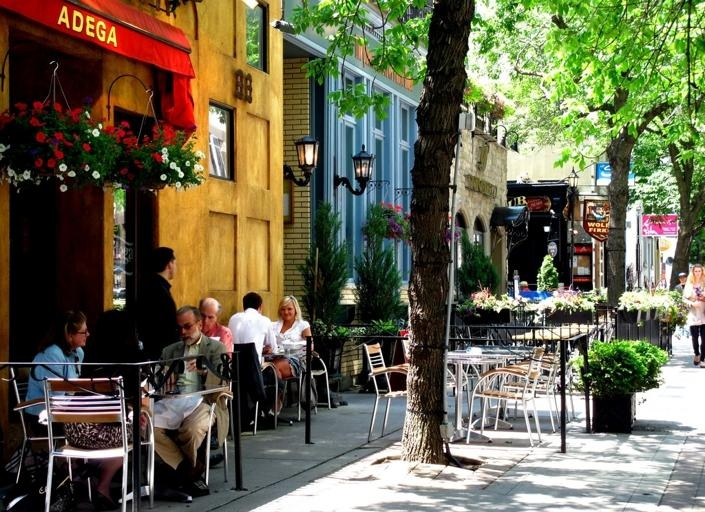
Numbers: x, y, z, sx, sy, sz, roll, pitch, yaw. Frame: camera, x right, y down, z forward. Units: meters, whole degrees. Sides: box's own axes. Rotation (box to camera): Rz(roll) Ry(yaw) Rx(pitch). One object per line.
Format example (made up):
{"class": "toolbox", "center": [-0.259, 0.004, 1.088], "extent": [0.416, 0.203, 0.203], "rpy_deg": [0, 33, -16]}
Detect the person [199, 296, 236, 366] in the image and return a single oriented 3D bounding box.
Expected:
{"class": "person", "center": [-1.739, 0.946, 11.383], "extent": [0.472, 0.881, 0.461], "rpy_deg": [-4, -6, 2]}

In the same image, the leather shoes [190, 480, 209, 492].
{"class": "leather shoes", "center": [-1.598, 2.446, 9.427], "extent": [0.181, 0.132, 0.127], "rpy_deg": [3, -7, -39]}

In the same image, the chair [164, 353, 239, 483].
{"class": "chair", "center": [-1.749, 1.682, 9.640], "extent": [0.813, 1.659, 1.385], "rpy_deg": [-1, -5, 0]}

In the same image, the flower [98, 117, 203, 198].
{"class": "flower", "center": [-2.447, -1.193, 11.137], "extent": [0.824, 0.652, 0.901], "rpy_deg": [1, 0, -14]}

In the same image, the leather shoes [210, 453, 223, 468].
{"class": "leather shoes", "center": [-1.581, 2.371, 10.385], "extent": [0.071, 0.218, 0.142], "rpy_deg": [24, -11, -38]}

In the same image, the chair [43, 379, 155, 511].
{"class": "chair", "center": [-2.406, 1.829, 8.594], "extent": [1.084, 1.331, 1.427], "rpy_deg": [2, -6, -27]}

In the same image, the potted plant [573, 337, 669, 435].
{"class": "potted plant", "center": [3.813, 1.837, 12.668], "extent": [1.157, 1.290, 0.670], "rpy_deg": [1, -5, -17]}

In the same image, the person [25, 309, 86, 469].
{"class": "person", "center": [-3.012, 1.340, 9.603], "extent": [0.719, 1.547, 0.662], "rpy_deg": [14, 18, 2]}

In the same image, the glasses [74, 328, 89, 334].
{"class": "glasses", "center": [-2.893, 0.794, 9.481], "extent": [0.117, 0.046, 0.128], "rpy_deg": [-1, -3, 3]}
